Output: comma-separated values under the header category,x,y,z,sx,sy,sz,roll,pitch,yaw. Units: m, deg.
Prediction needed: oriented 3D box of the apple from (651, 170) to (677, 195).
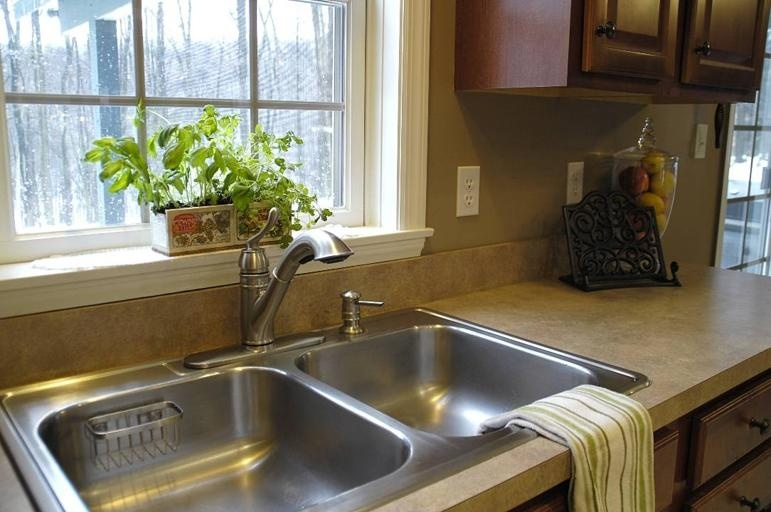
category,x,y,z,sx,sy,sz,roll,pitch,yaw
apple,0.981,-0.261,2.203,0.082,0.086,0.080,-29,24,-16

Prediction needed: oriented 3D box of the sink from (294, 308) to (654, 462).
category,x,y,z,sx,sy,sz,roll,pitch,yaw
sink,0.199,0.306,1.561,0.401,0.196,0.475,-14,18,-40

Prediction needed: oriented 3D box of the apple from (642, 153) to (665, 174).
category,x,y,z,sx,sy,sz,roll,pitch,yaw
apple,0.925,-0.331,2.156,0.068,0.069,0.068,-7,30,-16

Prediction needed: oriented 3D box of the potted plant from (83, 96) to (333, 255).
category,x,y,z,sx,sy,sz,roll,pitch,yaw
potted plant,-0.426,-0.190,1.562,0.563,0.375,0.337,-9,10,-33

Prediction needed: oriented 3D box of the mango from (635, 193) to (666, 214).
category,x,y,z,sx,sy,sz,roll,pitch,yaw
mango,0.946,-0.191,2.158,0.098,0.075,0.036,-8,13,-13

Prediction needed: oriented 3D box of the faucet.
category,x,y,z,sx,sy,sz,roll,pitch,yaw
faucet,-0.209,0.059,1.413,0.329,0.338,0.113,5,16,41

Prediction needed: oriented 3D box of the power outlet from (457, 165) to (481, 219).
category,x,y,z,sx,sy,sz,roll,pitch,yaw
power outlet,0.261,-0.206,1.930,0.102,0.156,0.008,-14,15,-34

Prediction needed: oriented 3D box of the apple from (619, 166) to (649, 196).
category,x,y,z,sx,sy,sz,roll,pitch,yaw
apple,0.874,-0.266,2.146,0.094,0.097,0.096,-3,1,14
